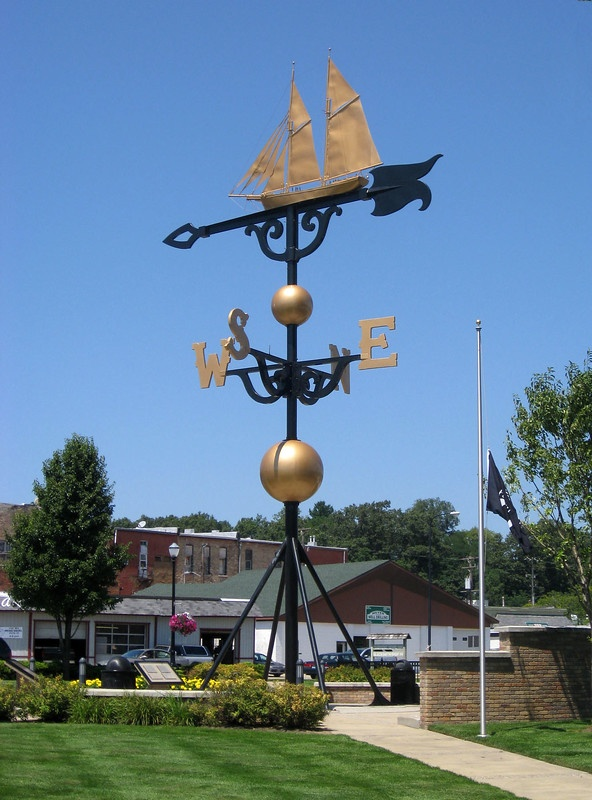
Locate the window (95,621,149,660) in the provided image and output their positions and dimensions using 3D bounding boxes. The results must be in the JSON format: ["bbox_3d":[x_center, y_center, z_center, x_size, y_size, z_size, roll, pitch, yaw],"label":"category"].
[{"bbox_3d":[-6.285,8.533,53.588,0.422,1.573,3.167,-6,-15,22],"label":"window"}]

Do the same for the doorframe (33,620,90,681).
[{"bbox_3d":[-7.875,8.297,51.246,0.245,1.967,2.558,-28,-26,38],"label":"doorframe"}]
